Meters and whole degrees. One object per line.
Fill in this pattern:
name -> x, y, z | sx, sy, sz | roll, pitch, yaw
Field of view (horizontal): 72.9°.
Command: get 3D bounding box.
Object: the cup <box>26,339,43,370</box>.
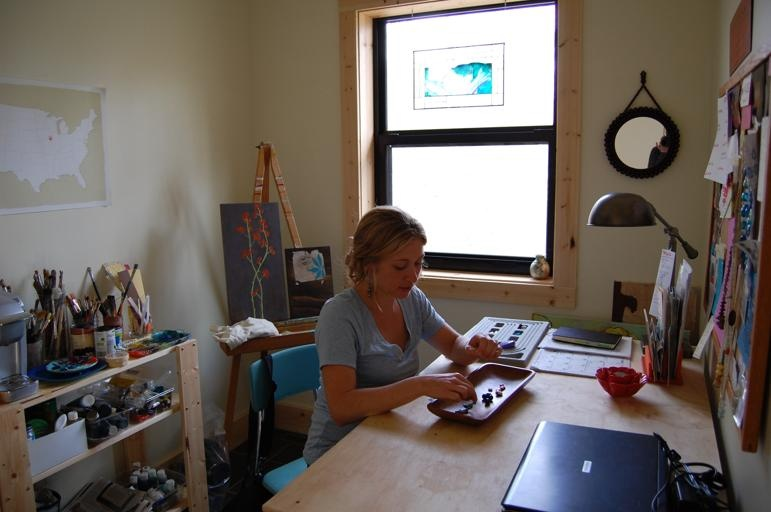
cup -> -1.567, 0.438, 2.357 | 0.037, 0.117, 0.082 | -2, 14, 7

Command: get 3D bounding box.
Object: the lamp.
lamp -> 1.169, -0.076, 2.362 | 0.467, 0.549, 0.245 | -2, 36, 18

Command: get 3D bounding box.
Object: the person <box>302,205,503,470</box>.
person -> 0.072, 0.604, 2.289 | 0.769, 1.582, 0.808 | -3, 14, -12

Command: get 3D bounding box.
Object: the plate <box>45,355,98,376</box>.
plate -> -1.405, 0.496, 2.366 | 0.207, 0.047, 0.149 | -12, 16, -31

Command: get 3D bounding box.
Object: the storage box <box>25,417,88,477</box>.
storage box -> -1.418, 0.849, 2.301 | 0.162, 0.107, 0.164 | -2, 8, 40

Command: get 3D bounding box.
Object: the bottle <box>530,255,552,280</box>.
bottle -> 0.956, 0.061, 3.231 | 0.133, 0.190, 0.140 | -3, 5, 0

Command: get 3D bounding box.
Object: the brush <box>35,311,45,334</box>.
brush -> -1.572, 0.298, 2.393 | 0.030, 0.118, 0.033 | 7, -22, -20

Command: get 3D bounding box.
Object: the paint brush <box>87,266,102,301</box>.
paint brush -> -1.529, 0.145, 2.758 | 0.034, 0.187, 0.015 | -26, 11, -35

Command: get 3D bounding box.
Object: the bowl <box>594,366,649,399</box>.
bowl -> 0.926, 0.486, 2.056 | 0.125, 0.064, 0.135 | -3, 0, 0

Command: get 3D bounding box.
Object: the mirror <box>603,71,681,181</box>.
mirror -> 1.397, -0.703, 2.858 | 0.394, 0.591, 0.021 | 11, 39, 34

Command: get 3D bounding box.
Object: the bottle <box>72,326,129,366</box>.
bottle -> -1.330, 0.421, 2.516 | 0.195, 0.223, 0.198 | 1, 3, 25
